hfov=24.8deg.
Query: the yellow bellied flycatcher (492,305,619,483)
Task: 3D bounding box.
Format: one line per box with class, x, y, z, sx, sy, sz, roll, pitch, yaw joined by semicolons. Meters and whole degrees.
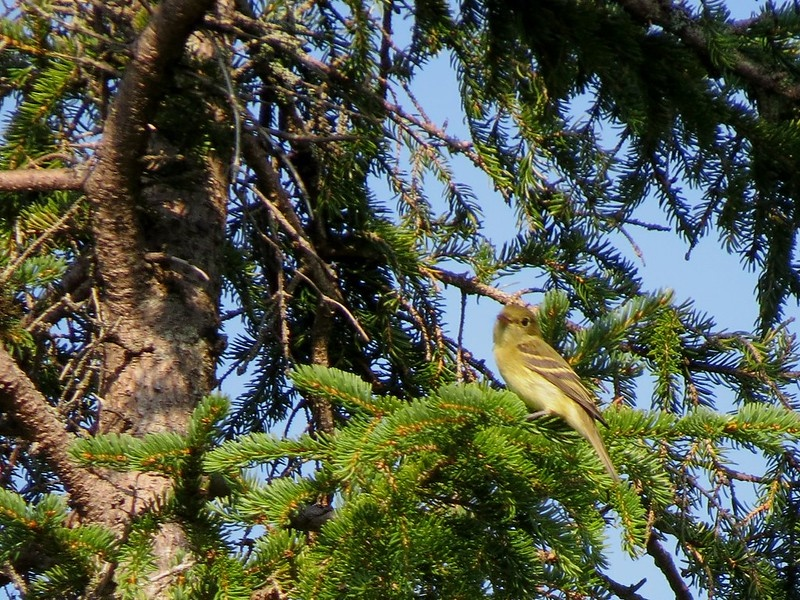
yellow bellied flycatcher;0.965;0.613;11.143;0.343;1.313;0.583;-13;-51;-37
